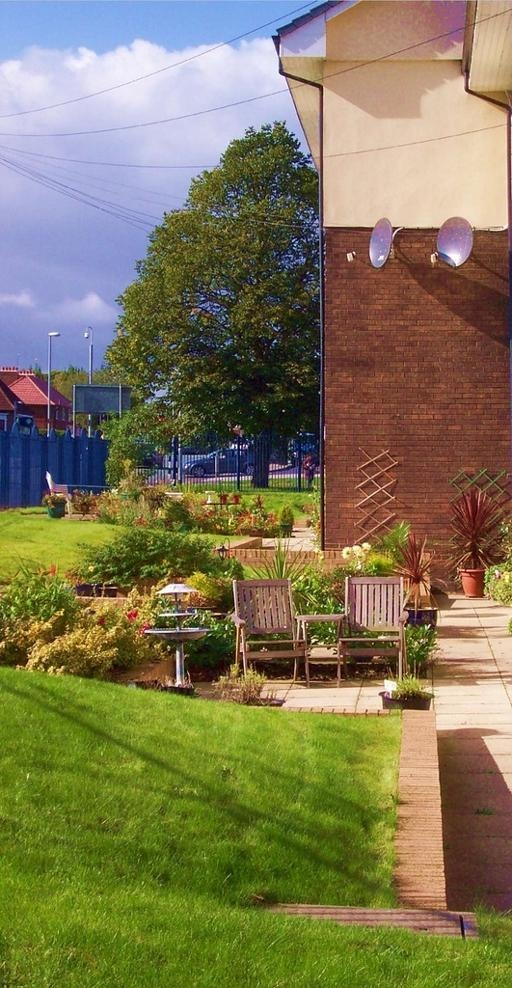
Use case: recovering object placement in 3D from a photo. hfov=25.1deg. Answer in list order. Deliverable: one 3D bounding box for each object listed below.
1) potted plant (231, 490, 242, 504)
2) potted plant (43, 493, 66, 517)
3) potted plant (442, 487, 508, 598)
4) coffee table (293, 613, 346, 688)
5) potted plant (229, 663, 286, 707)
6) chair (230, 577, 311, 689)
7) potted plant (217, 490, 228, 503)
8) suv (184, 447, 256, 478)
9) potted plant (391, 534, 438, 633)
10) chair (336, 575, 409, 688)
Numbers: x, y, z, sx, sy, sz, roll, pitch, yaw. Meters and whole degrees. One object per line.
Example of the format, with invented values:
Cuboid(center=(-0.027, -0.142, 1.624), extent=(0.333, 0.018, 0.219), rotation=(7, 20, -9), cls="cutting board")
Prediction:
Cuboid(center=(-0.414, 0.036, 25.133), extent=(0.242, 0.294, 0.236), rotation=(-1, -1, -3), cls="potted plant")
Cuboid(center=(-3.970, 0.204, 22.864), extent=(0.436, 0.528, 0.400), rotation=(0, -4, -22), cls="potted plant")
Cuboid(center=(3.095, 0.558, 16.235), extent=(0.808, 1.417, 0.657), rotation=(9, 3, 6), cls="potted plant")
Cuboid(center=(0.535, 1.344, 10.586), extent=(0.388, 0.741, 0.579), rotation=(0, -9, -4), cls="coffee table")
Cuboid(center=(-0.014, 1.513, 9.021), extent=(0.283, 0.214, 0.333), rotation=(16, -7, 2), cls="potted plant")
Cuboid(center=(0.138, 1.256, 10.460), extent=(0.599, 1.042, 0.689), rotation=(-2, -5, -12), cls="chair")
Cuboid(center=(-0.708, 0.045, 25.022), extent=(0.198, 0.254, 0.220), rotation=(0, -3, 4), cls="potted plant")
Cuboid(center=(-1.137, -1.222, 36.968), extent=(2.136, 1.093, 1.091), rotation=(2, -2, 6), cls="suv")
Cuboid(center=(1.971, 1.084, 14.357), extent=(0.501, 1.108, 0.578), rotation=(-5, 5, -1), cls="potted plant")
Cuboid(center=(1.052, 1.241, 10.480), extent=(0.683, 1.023, 0.754), rotation=(2, -7, -8), cls="chair")
